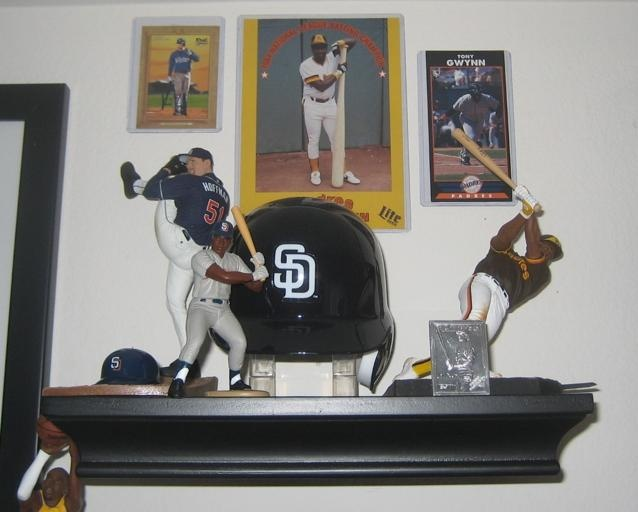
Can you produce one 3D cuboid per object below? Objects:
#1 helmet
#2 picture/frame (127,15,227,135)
[{"bbox_3d":[-0.010,0.095,2.442,0.314,0.371,0.438,1,23,-1],"label":"helmet"},{"bbox_3d":[-0.393,-0.487,2.900,0.302,0.412,0.030,0,-13,0],"label":"picture/frame"}]
